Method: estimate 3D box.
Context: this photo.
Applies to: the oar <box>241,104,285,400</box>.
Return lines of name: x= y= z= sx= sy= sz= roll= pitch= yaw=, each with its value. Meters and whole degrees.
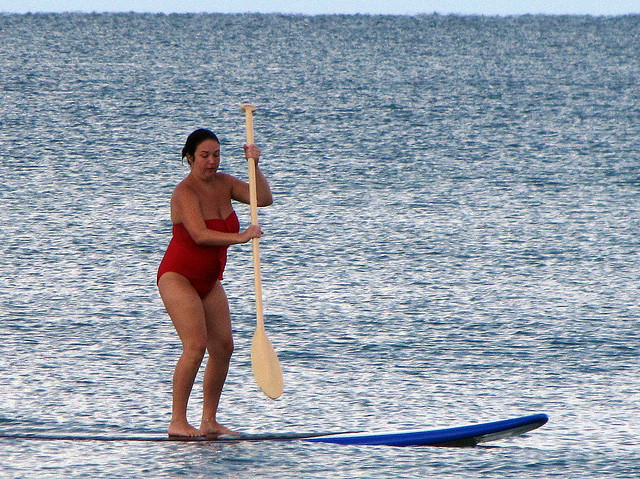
oar: x=-0.815 y=0.222 z=23.054 sx=0.396 sy=4.158 sz=0.698 roll=-6 pitch=14 yaw=-20

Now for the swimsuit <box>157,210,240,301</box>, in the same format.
swimsuit: x=-1.678 y=0.222 z=22.971 sx=0.942 sy=1.154 sz=0.708 roll=-5 pitch=16 yaw=-24

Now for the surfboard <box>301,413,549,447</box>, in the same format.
surfboard: x=1.636 y=2.578 z=22.982 sx=2.902 sy=0.516 sz=0.211 roll=2 pitch=18 yaw=0
